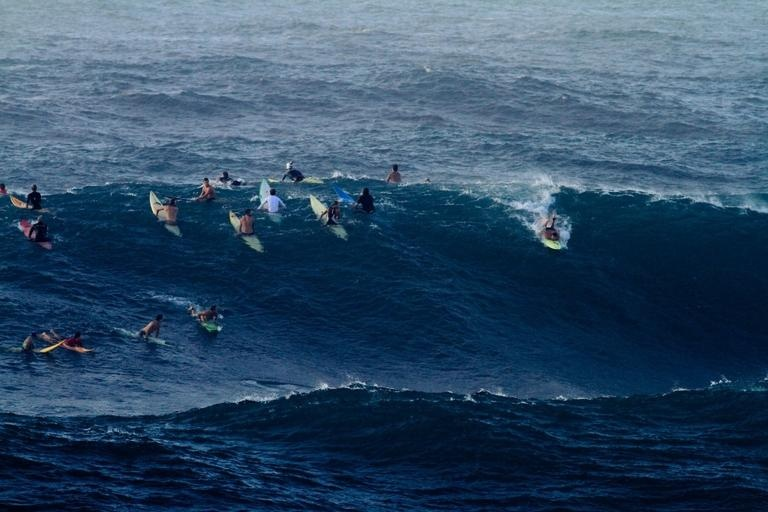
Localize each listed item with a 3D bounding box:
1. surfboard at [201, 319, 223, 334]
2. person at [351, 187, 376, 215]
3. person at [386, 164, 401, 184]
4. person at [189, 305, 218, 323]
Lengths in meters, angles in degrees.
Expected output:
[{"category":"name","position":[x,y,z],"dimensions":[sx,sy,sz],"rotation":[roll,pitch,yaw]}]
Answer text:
[{"category":"surfboard","position":[-10.939,4.336,71.394],"dimensions":[1.330,0.759,0.774],"rotation":[-10,33,-7]},{"category":"person","position":[-1.529,-3.948,79.194],"dimensions":[1.307,1.885,1.027],"rotation":[-6,37,5]},{"category":"person","position":[0.483,-6.207,83.070],"dimensions":[0.956,1.833,1.102],"rotation":[-16,37,-7]},{"category":"person","position":[-11.582,3.543,71.855],"dimensions":[1.660,0.484,1.277],"rotation":[17,20,42]}]
